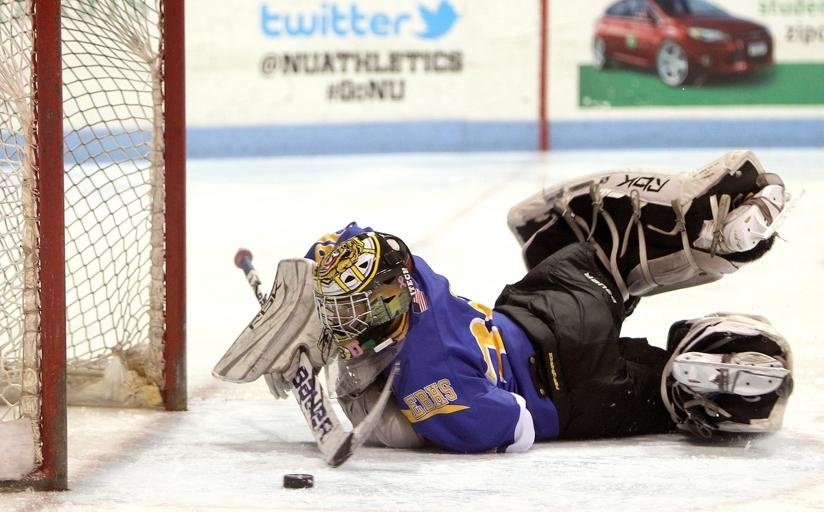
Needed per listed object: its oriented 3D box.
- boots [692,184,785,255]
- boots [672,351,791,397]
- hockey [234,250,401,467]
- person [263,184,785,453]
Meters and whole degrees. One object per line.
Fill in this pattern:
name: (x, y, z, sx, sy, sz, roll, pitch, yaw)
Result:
boots: (1.455, -0.129, 5.083, 0.399, 0.164, 0.228, -28, 63, -2)
boots: (1.310, 0.484, 4.723, 0.390, 0.120, 0.205, 10, 17, 1)
hockey: (-0.482, 0.269, 5.225, 0.284, 0.280, 1.839, -38, 31, 6)
person: (0.513, 0.234, 5.139, 2.191, 0.756, 1.267, 3, 36, -10)
